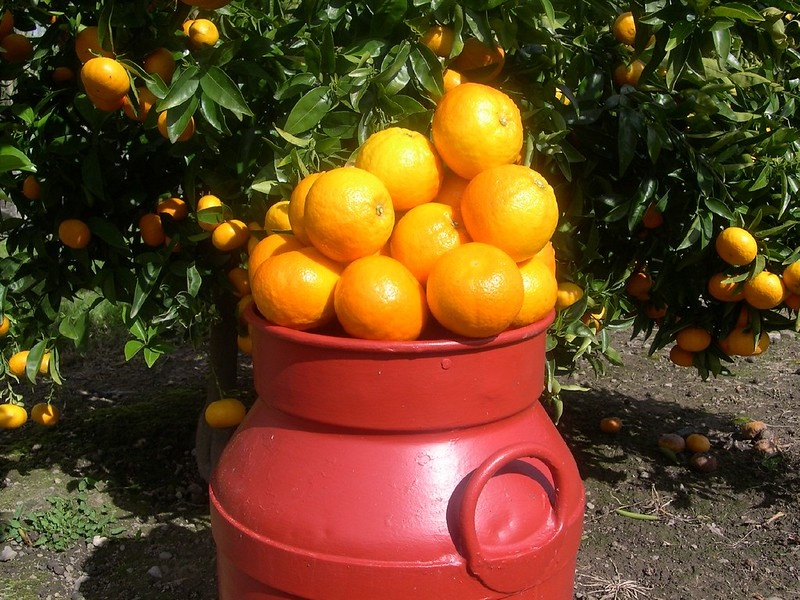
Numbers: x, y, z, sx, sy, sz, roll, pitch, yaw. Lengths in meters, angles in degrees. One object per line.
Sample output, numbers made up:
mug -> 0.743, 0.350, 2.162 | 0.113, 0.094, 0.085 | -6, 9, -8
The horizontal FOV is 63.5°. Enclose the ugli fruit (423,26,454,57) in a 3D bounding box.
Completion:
ugli fruit -> 0.115, -0.728, 1.857 | 0.088, 0.095, 0.088 | 10, 10, 14

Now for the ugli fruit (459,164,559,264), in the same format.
ugli fruit -> 0.271, -0.207, 1.568 | 0.222, 0.190, 0.181 | -12, 47, -21

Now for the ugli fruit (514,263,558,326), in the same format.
ugli fruit -> 0.343, -0.031, 1.652 | 0.126, 0.161, 0.136 | 10, 20, 13

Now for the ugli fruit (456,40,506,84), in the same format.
ugli fruit -> 0.228, -0.697, 1.914 | 0.095, 0.125, 0.106 | -22, 66, -39

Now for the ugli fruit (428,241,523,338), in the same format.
ugli fruit -> 0.175, -0.023, 1.481 | 0.195, 0.142, 0.170 | -17, 49, -25

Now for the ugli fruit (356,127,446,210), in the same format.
ugli fruit -> 0.032, -0.337, 1.661 | 0.196, 0.192, 0.207 | -1, 3, 11

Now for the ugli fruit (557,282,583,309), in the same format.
ugli fruit -> 0.565, -0.017, 2.179 | 0.086, 0.110, 0.089 | 3, -2, 7
